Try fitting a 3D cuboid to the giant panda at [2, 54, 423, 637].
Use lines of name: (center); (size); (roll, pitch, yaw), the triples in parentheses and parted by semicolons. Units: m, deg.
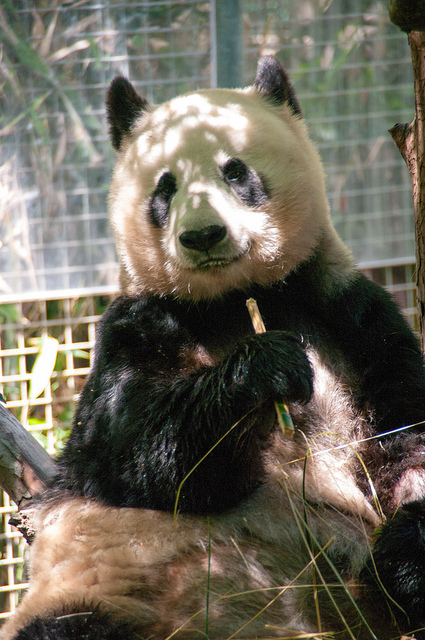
giant panda: (0.121, 0.241, 2.745); (1.324, 0.843, 1.817); (12, 65, 1)
